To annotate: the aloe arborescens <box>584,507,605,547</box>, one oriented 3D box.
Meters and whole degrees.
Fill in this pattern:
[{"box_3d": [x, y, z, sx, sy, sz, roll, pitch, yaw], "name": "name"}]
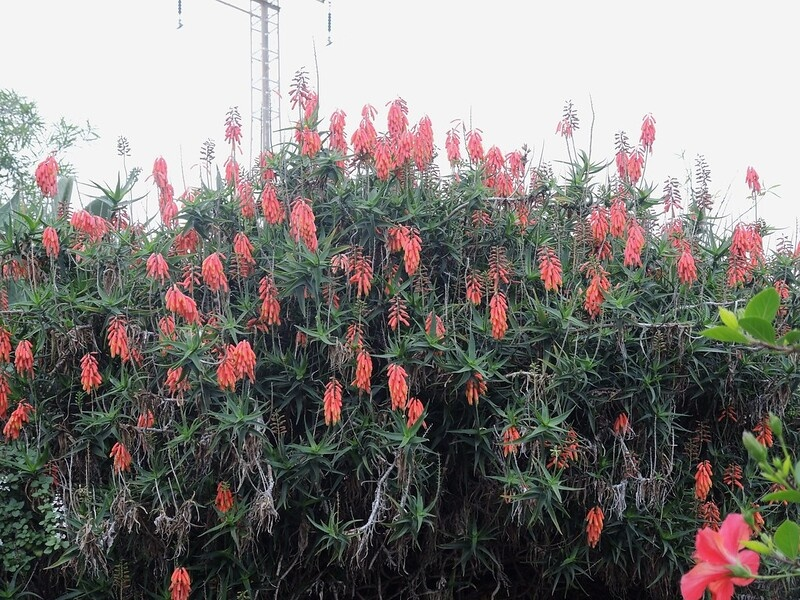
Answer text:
[{"box_3d": [1.300, 1.503, 5.173, 0.113, 0.118, 0.369, 2, -51, 17], "name": "aloe arborescens"}]
